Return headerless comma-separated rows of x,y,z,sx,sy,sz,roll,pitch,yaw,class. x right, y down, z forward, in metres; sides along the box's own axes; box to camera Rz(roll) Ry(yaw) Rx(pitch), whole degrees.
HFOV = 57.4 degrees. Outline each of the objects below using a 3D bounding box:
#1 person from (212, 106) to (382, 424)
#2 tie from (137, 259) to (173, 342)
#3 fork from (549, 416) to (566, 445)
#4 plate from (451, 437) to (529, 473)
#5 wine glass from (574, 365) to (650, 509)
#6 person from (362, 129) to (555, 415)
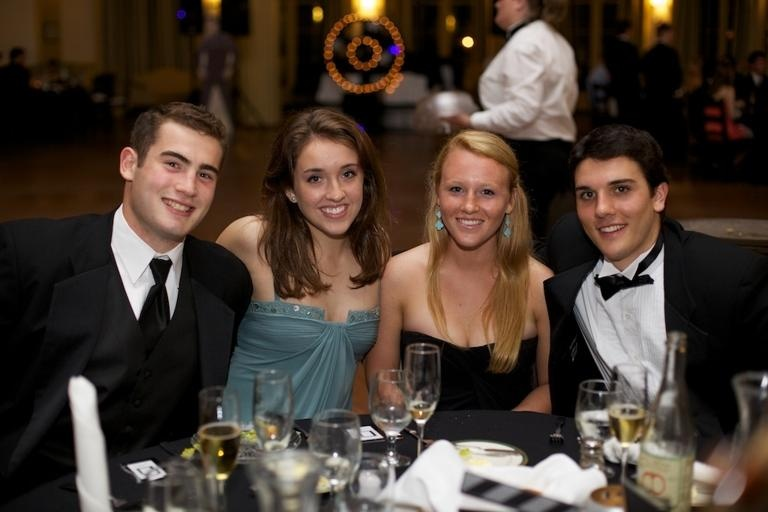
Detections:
-0.466,0.116,3.670,0.871,1.848,0.661,5,22,-10,person
-0.951,0.204,2.928,0.122,0.388,0.085,6,2,-14,tie
0.633,0.634,2.547,0.035,0.031,0.096,1,15,11,fork
0.363,0.676,2.381,0.250,0.044,0.255,2,8,6,plate
0.793,0.548,2.370,0.212,0.342,0.315,7,10,36,wine glass
0.374,0.239,3.479,0.981,1.675,0.777,-3,18,-7,person
